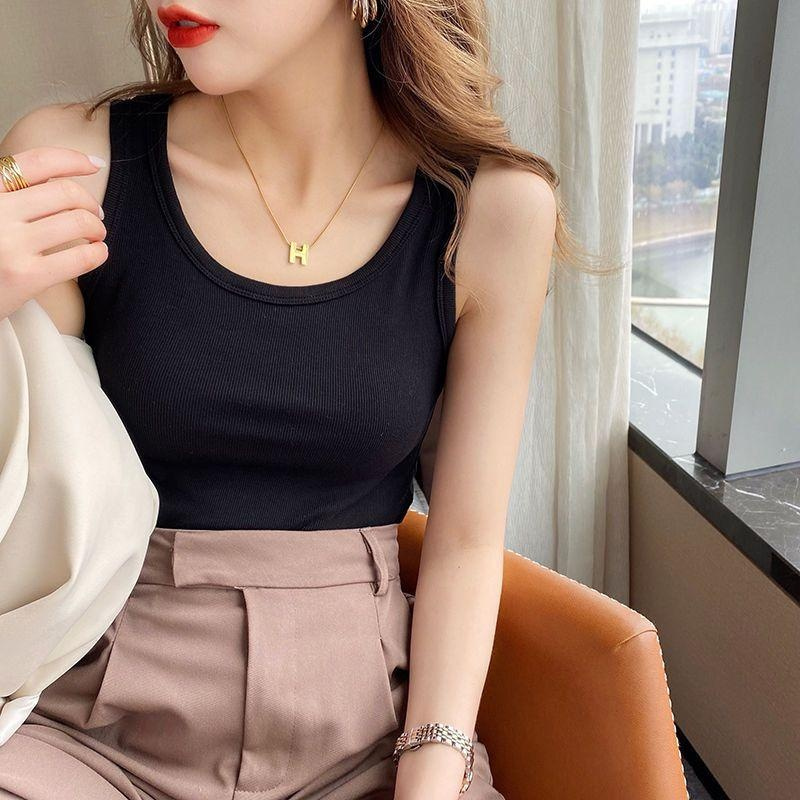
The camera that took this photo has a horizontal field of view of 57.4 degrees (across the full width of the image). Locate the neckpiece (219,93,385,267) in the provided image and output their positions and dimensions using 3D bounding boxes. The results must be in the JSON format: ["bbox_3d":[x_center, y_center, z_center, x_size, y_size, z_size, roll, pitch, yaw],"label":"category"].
[{"bbox_3d":[-0.137,-0.277,0.940,0.222,0.273,0.019,7,-18,-9],"label":"neckpiece"}]
